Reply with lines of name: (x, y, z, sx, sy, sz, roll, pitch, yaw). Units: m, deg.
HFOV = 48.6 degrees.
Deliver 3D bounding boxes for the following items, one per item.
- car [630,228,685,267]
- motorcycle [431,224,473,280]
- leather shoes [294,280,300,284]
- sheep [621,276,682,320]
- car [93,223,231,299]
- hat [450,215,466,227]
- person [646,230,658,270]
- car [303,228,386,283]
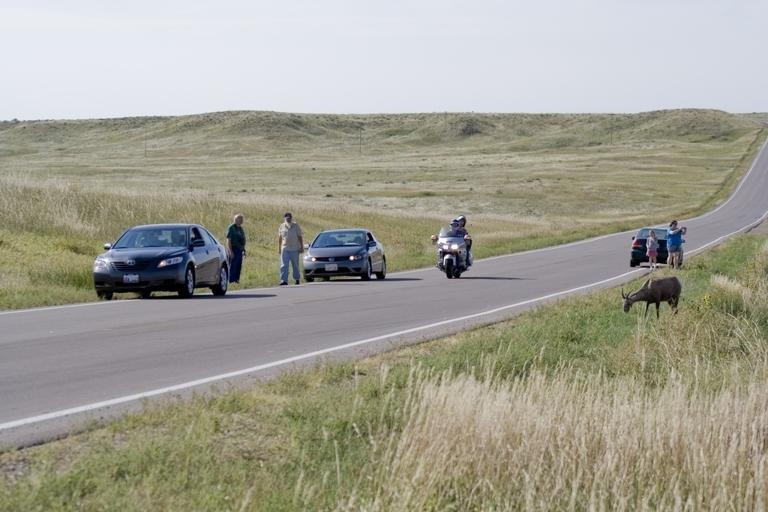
car: (9.826, -0.420, 31.480, 1.154, 1.024, 2.707, 0, 7, 21)
motorcycle: (2.175, -0.197, 26.581, 1.061, 1.694, 1.637, -1, 10, -2)
leather shoes: (-2.568, 0.800, 25.161, 0.161, 0.175, 0.090, 4, 18, 4)
sheep: (5.729, 0.865, 18.044, 1.532, 0.817, 0.584, -7, 12, -33)
car: (-5.636, 0.241, 21.737, 2.059, 1.821, 3.510, 5, 12, 30)
hat: (2.357, -1.092, 27.142, 0.427, 0.398, 0.717, 18, 4, 1)
person: (9.319, -0.207, 29.692, 0.393, 1.457, 1.232, 2, 10, 17)
car: (-1.087, -0.094, 27.289, 1.321, 1.025, 2.874, -2, -4, 10)
